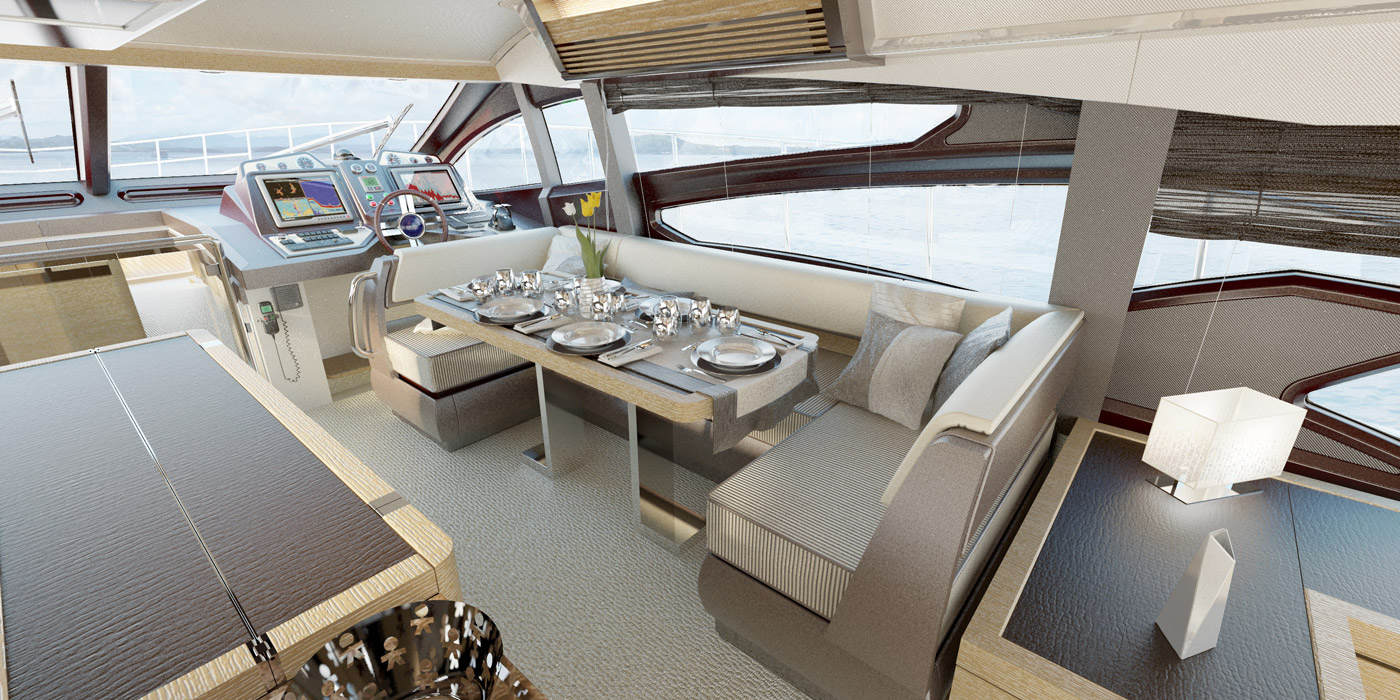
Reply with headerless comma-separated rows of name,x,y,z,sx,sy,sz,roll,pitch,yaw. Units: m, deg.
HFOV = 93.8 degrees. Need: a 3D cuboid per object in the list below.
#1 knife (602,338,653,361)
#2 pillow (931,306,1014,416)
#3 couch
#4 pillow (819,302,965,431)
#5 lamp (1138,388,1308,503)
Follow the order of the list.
knife,-0.381,0.007,3.660,0.219,0.031,0.118,-20,30,-39
pillow,1.490,0.071,3.589,0.182,0.514,0.574,37,-11,6
couch,-0.101,0.374,4.569,4.364,2.121,2.140,12,24,33
pillow,1.160,0.114,3.948,0.283,0.749,0.915,31,-6,-38
lamp,2.870,0.532,3.513,0.794,0.430,0.360,0,17,-12
